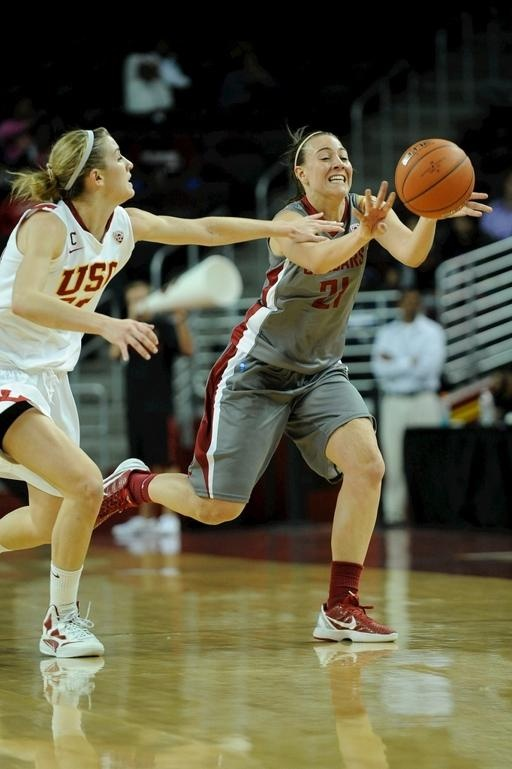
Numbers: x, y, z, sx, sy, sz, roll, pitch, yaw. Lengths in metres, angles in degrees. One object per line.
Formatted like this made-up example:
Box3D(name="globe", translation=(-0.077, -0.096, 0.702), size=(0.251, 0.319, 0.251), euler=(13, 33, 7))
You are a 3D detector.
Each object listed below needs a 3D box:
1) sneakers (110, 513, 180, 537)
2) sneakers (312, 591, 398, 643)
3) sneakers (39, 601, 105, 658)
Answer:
Box3D(name="sneakers", translation=(-1.009, 1.354, 7.270), size=(0.748, 0.260, 0.229), euler=(1, -9, 1))
Box3D(name="sneakers", translation=(0.311, 0.782, 2.477), size=(0.329, 0.175, 0.108), euler=(0, -16, 7))
Box3D(name="sneakers", translation=(-0.574, 0.753, 2.305), size=(0.101, 0.134, 0.274), euler=(4, -8, -43))
